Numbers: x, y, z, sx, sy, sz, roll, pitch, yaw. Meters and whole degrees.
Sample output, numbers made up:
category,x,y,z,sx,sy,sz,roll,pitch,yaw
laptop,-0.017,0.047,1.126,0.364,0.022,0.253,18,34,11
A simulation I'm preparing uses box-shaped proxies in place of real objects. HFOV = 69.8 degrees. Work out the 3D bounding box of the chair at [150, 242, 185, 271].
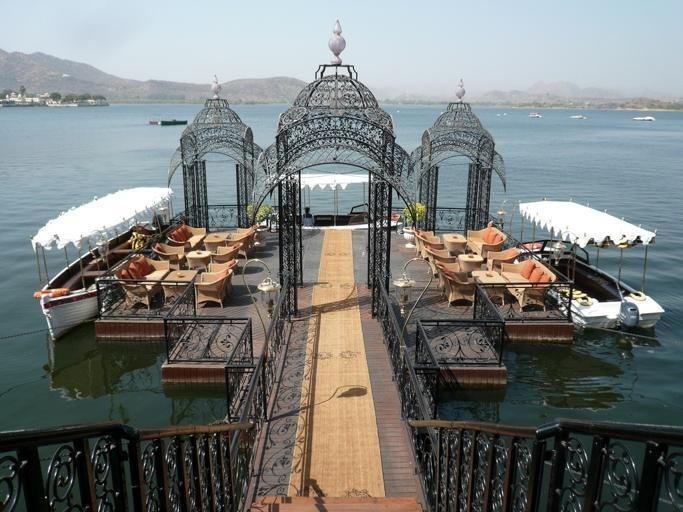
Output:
category,x,y,z,sx,sy,sz,roll,pitch,yaw
chair,-5.333,-0.067,15.049,0.946,0.852,0.885,-1,25,-5

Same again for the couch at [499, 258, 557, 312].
category,x,y,z,sx,sy,sz,roll,pitch,yaw
couch,4.938,0.779,13.069,1.300,1.239,1.617,3,9,17

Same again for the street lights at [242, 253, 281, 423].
category,x,y,z,sx,sy,sz,roll,pitch,yaw
street lights,-1.730,1.102,11.112,0.821,1.991,0.581,-2,15,-8

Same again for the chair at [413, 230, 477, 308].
category,x,y,z,sx,sy,sz,roll,pitch,yaw
chair,2.981,0.419,14.228,0.797,0.546,2.312,-7,22,-3

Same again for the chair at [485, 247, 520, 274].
category,x,y,z,sx,sy,sz,roll,pitch,yaw
chair,4.855,0.134,14.656,0.906,0.763,0.659,0,20,1

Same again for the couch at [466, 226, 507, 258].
category,x,y,z,sx,sy,sz,roll,pitch,yaw
couch,4.806,-0.507,15.983,1.018,0.821,1.693,1,18,-6

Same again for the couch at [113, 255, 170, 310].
category,x,y,z,sx,sy,sz,roll,pitch,yaw
couch,-5.308,0.754,13.099,0.692,0.610,1.371,2,22,-5

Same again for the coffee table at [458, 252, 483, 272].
category,x,y,z,sx,sy,sz,roll,pitch,yaw
coffee table,3.822,0.149,14.436,0.610,0.585,0.569,-1,13,-5

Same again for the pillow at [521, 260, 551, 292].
category,x,y,z,sx,sy,sz,roll,pitch,yaw
pillow,5.094,0.543,12.922,0.286,0.280,0.848,-19,22,14

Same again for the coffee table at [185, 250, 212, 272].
category,x,y,z,sx,sy,sz,roll,pitch,yaw
coffee table,-4.361,0.075,15.212,0.753,0.519,0.698,-1,12,-4

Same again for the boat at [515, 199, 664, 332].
category,x,y,z,sx,sy,sz,roll,pitch,yaw
boat,7.420,-0.022,15.567,2.764,3.184,6.716,0,18,0

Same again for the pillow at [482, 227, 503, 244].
category,x,y,z,sx,sy,sz,roll,pitch,yaw
pillow,4.950,-0.646,16.041,0.207,0.597,0.650,25,3,-25

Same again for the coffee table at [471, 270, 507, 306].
category,x,y,z,sx,sy,sz,roll,pitch,yaw
coffee table,3.963,0.755,13.104,0.797,0.426,1.705,-2,16,-1

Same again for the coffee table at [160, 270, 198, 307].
category,x,y,z,sx,sy,sz,roll,pitch,yaw
coffee table,-4.342,1.097,13.266,0.777,0.432,1.778,-1,20,-9

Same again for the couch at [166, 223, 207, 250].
category,x,y,z,sx,sy,sz,roll,pitch,yaw
couch,-5.110,-0.640,16.635,0.853,0.746,1.790,1,20,0

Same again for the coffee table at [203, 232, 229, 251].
category,x,y,z,sx,sy,sz,roll,pitch,yaw
coffee table,-4.167,-0.497,16.419,0.559,0.381,0.878,-1,19,-2

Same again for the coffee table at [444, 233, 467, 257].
category,x,y,z,sx,sy,sz,roll,pitch,yaw
coffee table,3.792,-0.401,16.542,0.558,0.407,0.931,-1,8,0

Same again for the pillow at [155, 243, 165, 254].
category,x,y,z,sx,sy,sz,roll,pitch,yaw
pillow,-5.482,-0.217,14.910,0.105,0.339,0.317,-31,-38,24
